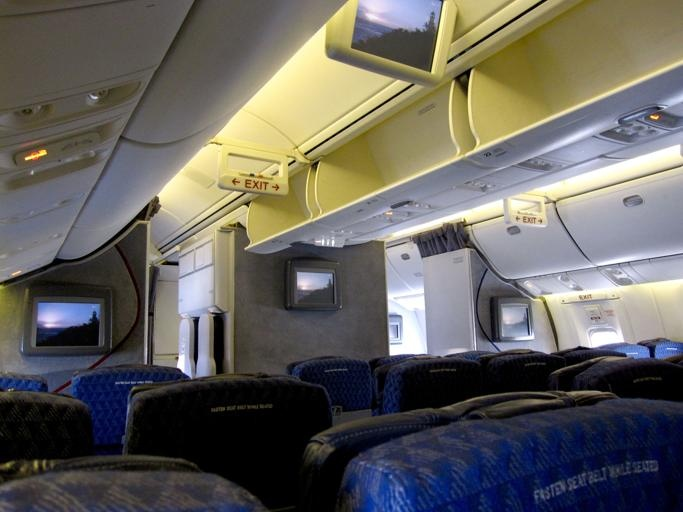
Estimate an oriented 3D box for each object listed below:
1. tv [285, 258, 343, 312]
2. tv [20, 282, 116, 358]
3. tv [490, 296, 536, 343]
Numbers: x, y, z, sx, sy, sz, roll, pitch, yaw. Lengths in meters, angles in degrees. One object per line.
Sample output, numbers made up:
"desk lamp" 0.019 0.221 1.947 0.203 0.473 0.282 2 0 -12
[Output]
"tv" -0.415 0.395 6.577 0.701 0.607 0.131 3 -7 -25
"tv" -2.984 0.693 5.237 0.852 0.854 0.113 1 -9 -16
"tv" 2.743 1.039 8.066 0.765 0.656 0.391 1 -6 -17
